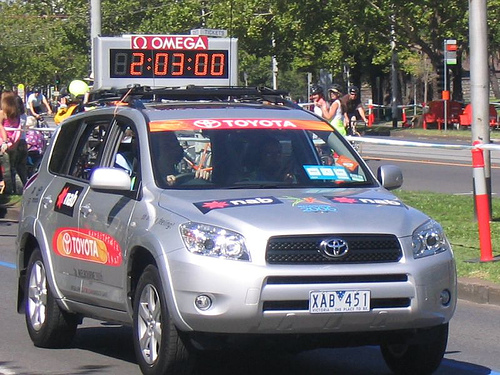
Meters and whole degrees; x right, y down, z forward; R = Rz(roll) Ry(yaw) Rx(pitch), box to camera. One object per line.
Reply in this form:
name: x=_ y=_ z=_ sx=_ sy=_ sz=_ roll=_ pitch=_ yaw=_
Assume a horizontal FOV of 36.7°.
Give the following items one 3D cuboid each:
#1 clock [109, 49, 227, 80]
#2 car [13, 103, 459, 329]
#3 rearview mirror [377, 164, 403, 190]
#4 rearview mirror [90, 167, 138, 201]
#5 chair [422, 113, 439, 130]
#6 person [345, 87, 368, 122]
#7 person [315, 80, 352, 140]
clock: x=-1.263 y=-1.959 z=11.920 sx=1.890 sy=0.469 sz=0.313 roll=-2 pitch=6 yaw=-17
car: x=-0.361 y=0.281 z=6.041 sx=1.971 sy=1.212 sz=2.995 roll=2 pitch=-3 yaw=-28
rearview mirror: x=1.168 y=-0.072 z=6.415 sx=0.196 sy=0.222 sz=0.368 roll=3 pitch=6 yaw=32
rearview mirror: x=-1.053 y=-0.043 z=5.922 sx=0.348 sy=0.191 sz=0.477 roll=-5 pitch=-10 yaw=35
chair: x=8.704 y=-3.188 z=35.903 sx=0.601 sy=0.749 sz=0.747 roll=1 pitch=-3 yaw=-21
person: x=2.727 y=-2.101 z=19.874 sx=0.453 sy=1.095 sz=1.206 roll=-4 pitch=10 yaw=-19
person: x=1.932 y=-1.418 z=17.912 sx=0.667 sy=2.040 sz=0.697 roll=11 pitch=14 yaw=24
